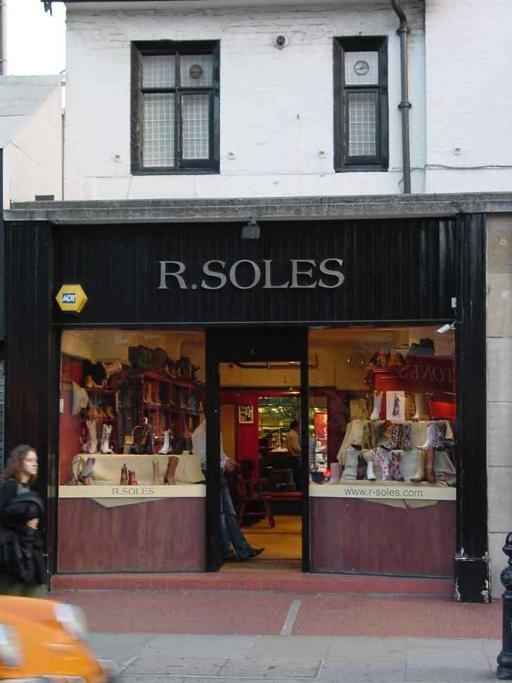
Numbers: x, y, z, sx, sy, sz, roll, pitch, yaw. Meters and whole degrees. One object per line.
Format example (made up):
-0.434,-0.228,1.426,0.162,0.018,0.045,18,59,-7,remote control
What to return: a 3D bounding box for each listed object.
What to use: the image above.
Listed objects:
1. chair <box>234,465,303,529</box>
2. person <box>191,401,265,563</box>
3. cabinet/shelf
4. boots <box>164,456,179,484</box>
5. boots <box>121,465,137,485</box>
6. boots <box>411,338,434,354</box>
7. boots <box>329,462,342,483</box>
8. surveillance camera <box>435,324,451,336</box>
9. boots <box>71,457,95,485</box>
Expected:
0.163,2.168,17.276,0.766,1.329,0.851,-2,-5,15,chair
-0.318,1.677,14.403,0.742,1.761,1.599,-1,3,6,person
-1.382,0.810,14.103,0.727,0.856,0.261,2,-4,-2,cabinet/shelf
-0.953,1.434,13.797,0.155,0.264,0.241,-1,3,5,boots
-1.432,1.490,13.788,0.193,0.193,0.206,-2,3,-7,boots
1.816,0.056,13.462,0.168,0.135,0.197,0,3,1,boots
0.875,1.461,13.661,0.145,0.301,0.163,2,-5,4,boots
1.968,-0.122,12.962,0.107,0.030,0.112,-32,-6,30,surveillance camera
-1.944,1.434,13.803,0.179,0.338,0.123,0,-7,-19,boots
